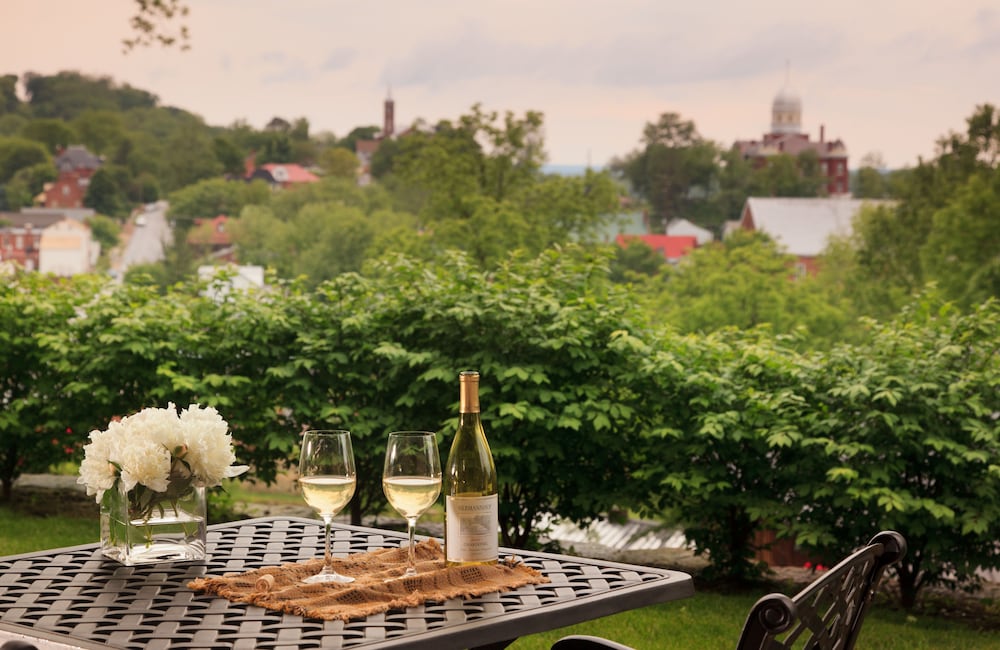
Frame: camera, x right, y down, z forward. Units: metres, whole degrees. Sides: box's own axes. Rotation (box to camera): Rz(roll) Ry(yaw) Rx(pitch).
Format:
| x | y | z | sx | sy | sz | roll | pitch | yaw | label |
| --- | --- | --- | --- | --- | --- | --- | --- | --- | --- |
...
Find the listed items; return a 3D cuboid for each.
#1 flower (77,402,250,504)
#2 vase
| x | y | z | sx | sy | sz | roll | pitch | yaw | label |
| --- | --- | --- | --- | --- | --- | --- | --- | --- | --- |
| -3.043 | 1.164 | 15.014 | 1.026 | 0.678 | 1.063 | -3 | -1 | 44 | flower |
| -3.098 | 1.706 | 15.290 | 0.842 | 0.737 | 0.868 | 3 | 20 | -1 | vase |
